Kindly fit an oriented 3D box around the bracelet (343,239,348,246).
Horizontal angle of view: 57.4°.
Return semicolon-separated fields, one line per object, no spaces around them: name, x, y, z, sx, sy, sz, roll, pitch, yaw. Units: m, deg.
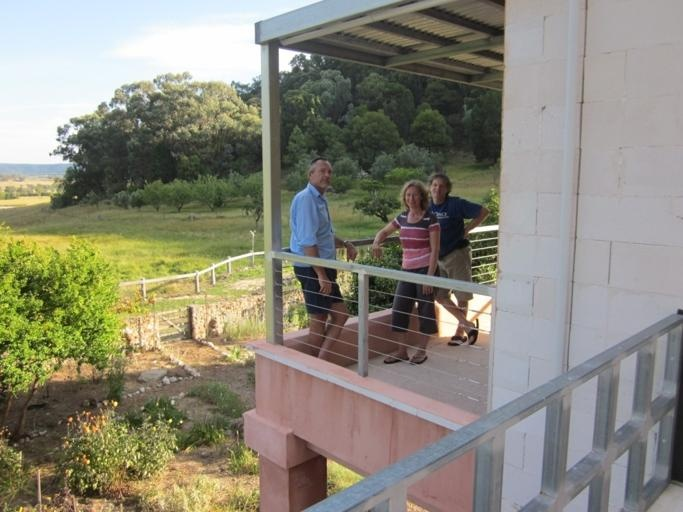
bracelet;0.041;-0.133;6.048;0.030;0.050;0.017;-1;-4;36

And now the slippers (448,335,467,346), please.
slippers;1.157;0.849;6.258;0.079;0.067;0.209;0;2;43

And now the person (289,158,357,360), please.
person;-0.192;0.056;5.624;0.543;1.821;0.779;3;11;23

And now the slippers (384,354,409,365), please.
slippers;0.499;0.960;5.764;0.215;0.106;0.111;3;1;8

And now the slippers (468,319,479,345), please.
slippers;1.322;0.775;6.285;0.066;0.309;0.102;0;2;3

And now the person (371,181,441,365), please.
person;0.621;0.189;5.611;0.495;1.723;0.888;-5;11;-22
